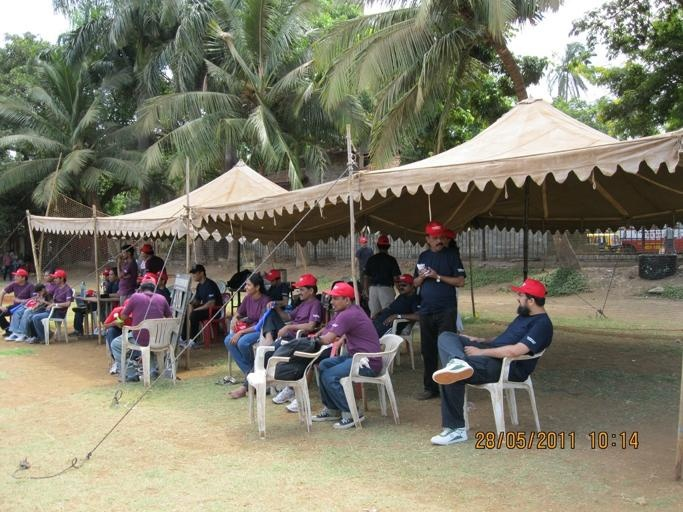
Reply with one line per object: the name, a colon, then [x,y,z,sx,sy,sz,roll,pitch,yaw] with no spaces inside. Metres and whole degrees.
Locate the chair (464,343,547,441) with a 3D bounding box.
chair: [2.093,1.689,9.158,0.718,0.968,0.797,4,-8,-23]

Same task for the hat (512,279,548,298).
hat: [2.328,0.402,9.024,0.381,0.210,0.260,5,3,22]

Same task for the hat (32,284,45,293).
hat: [-6.262,0.671,15.046,0.183,0.231,0.239,2,-8,-8]

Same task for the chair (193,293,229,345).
chair: [-2.367,1.135,13.787,0.601,0.754,0.555,-12,21,-24]

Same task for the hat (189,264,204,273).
hat: [-2.622,0.229,13.211,0.233,0.121,0.165,10,3,-2]

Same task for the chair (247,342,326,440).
chair: [-0.843,1.784,9.734,1.113,1.297,1.117,4,-5,-9]

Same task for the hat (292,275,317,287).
hat: [-0.495,0.359,10.410,0.283,0.146,0.178,-2,3,-10]

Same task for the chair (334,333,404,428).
chair: [0.389,1.687,9.663,0.889,1.049,0.904,-1,-6,-30]

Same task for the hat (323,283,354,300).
hat: [0.005,0.466,9.548,0.319,0.174,0.204,4,-2,-11]

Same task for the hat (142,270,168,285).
hat: [-3.192,0.381,12.639,0.555,0.207,0.380,1,0,40]

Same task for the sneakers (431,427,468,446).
sneakers: [1.329,2.218,8.913,0.512,0.216,0.171,2,-7,-15]

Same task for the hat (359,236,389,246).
hat: [0.674,-0.270,13.356,0.307,0.167,0.459,0,6,-41]

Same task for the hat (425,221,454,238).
hat: [1.278,-0.354,10.178,0.291,0.199,0.440,-2,3,-23]

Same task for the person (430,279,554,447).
person: [1.755,1.295,8.934,1.561,1.926,0.637,-3,7,-18]

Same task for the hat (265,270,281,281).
hat: [-1.147,0.330,12.209,0.245,0.104,0.168,5,13,-2]

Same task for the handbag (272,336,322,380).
handbag: [-0.606,1.302,9.415,0.566,0.566,0.446,7,3,15]

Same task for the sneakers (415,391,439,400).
sneakers: [1.223,2.005,10.404,0.358,0.140,0.117,9,-11,-42]

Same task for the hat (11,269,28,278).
hat: [-6.915,0.399,15.723,0.253,0.131,0.189,19,0,-20]
